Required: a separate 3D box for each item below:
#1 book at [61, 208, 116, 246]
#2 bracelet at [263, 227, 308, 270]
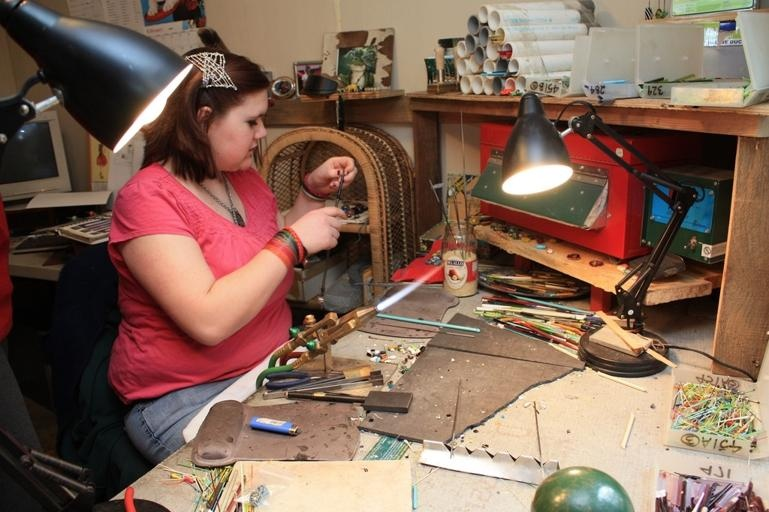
[{"bbox_3d":[-1.399,-0.139,2.525,0.207,0.041,0.207,13,27,28],"label":"book"},{"bbox_3d":[-0.285,-0.036,1.596,0.090,0.113,0.114,-28,42,-17],"label":"bracelet"}]
